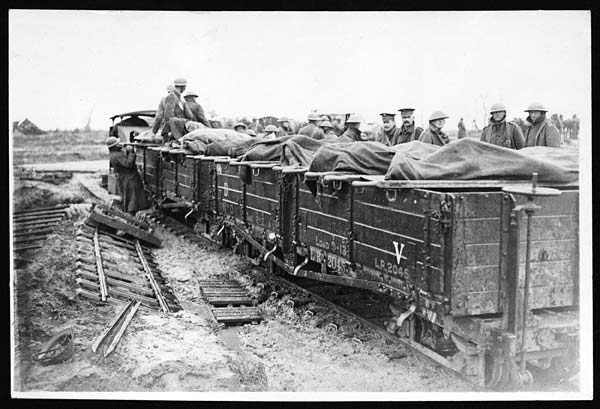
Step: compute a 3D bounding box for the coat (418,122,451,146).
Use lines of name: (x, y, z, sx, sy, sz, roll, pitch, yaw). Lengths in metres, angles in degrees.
coat: (2.802, -1.438, 10.661, 0.570, 0.408, 0.530, 7, 11, -3)

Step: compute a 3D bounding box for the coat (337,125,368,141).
coat: (1.155, -1.580, 11.457, 0.344, 0.285, 0.940, 10, 11, 10)

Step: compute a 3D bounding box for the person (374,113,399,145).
person: (2.131, -1.725, 12.222, 0.429, 0.802, 0.779, -2, 1, -43)

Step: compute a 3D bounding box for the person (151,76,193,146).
person: (-4.107, -2.748, 16.687, 1.029, 2.546, 1.365, -1, 11, -45)

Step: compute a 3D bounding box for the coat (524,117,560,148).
coat: (4.913, -1.408, 10.280, 0.397, 0.558, 0.651, 7, 11, -2)

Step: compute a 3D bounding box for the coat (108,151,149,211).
coat: (-5.396, -0.713, 16.271, 0.693, 2.063, 0.789, -14, 3, -38)

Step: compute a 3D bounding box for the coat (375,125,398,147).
coat: (2.149, -1.713, 12.896, 0.735, 0.560, 1.095, 1, 5, 11)

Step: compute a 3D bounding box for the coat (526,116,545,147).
coat: (4.741, -1.479, 10.571, 0.257, 0.538, 0.369, 2, 1, -20)

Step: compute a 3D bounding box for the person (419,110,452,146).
person: (2.797, -1.509, 10.666, 0.708, 0.779, 0.510, -8, 12, -35)
